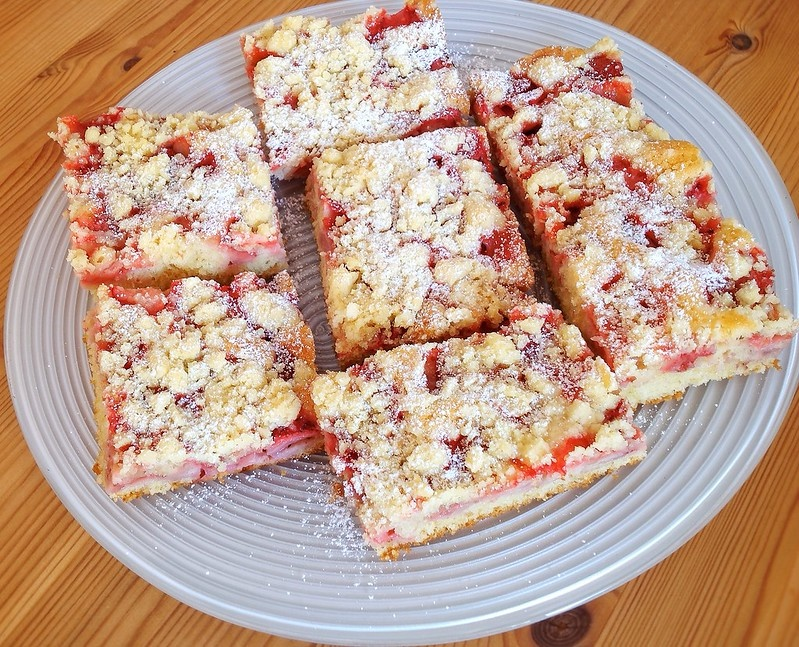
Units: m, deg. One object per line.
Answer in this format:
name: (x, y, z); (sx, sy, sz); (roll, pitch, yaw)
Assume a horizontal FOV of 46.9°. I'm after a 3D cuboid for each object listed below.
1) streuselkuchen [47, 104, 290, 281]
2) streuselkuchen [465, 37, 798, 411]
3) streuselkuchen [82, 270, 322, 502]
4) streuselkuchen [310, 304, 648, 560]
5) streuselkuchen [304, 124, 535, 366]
streuselkuchen: (-0.750, -0.416, 2.980); (0.562, 0.207, 0.619); (-12, 72, -6)
streuselkuchen: (0.689, -0.275, 2.868); (0.839, 0.283, 1.310); (-14, 67, -3)
streuselkuchen: (-0.587, 0.147, 2.782); (0.650, 0.251, 0.657); (-10, 84, -2)
streuselkuchen: (0.223, 0.280, 2.676); (0.894, 0.215, 0.572); (-18, 85, -3)
streuselkuchen: (0.049, -0.274, 3.013); (0.661, 0.247, 0.739); (-13, 70, -3)
